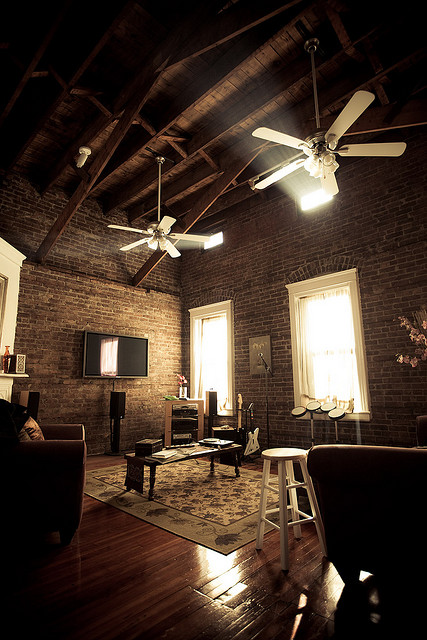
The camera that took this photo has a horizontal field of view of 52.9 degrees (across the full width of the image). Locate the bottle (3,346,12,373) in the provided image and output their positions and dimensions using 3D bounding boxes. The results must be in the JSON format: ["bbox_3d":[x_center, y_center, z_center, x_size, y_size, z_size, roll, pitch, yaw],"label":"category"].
[{"bbox_3d":[-2.288,0.434,4.764,0.083,0.286,0.190,5,-9,-30],"label":"bottle"}]

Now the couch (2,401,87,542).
[{"bbox_3d":[-1.093,0.959,2.804,0.483,0.878,0.678,2,-8,-17],"label":"couch"}]

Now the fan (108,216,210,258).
[{"bbox_3d":[-0.631,-1.026,5.023,0.948,0.394,1.098,12,12,41],"label":"fan"}]

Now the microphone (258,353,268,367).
[{"bbox_3d":[0.696,0.542,5.867,0.073,0.194,0.074,-20,-9,-26],"label":"microphone"}]

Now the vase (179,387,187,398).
[{"bbox_3d":[-0.473,1.168,6.921,0.135,0.255,0.136,0,-9,4],"label":"vase"}]

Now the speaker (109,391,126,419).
[{"bbox_3d":[-1.328,1.177,5.923,0.204,0.358,0.243,1,-8,-8],"label":"speaker"}]

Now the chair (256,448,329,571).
[{"bbox_3d":[0.512,1.157,2.634,0.426,0.567,0.439,-33,-39,32],"label":"chair"}]
